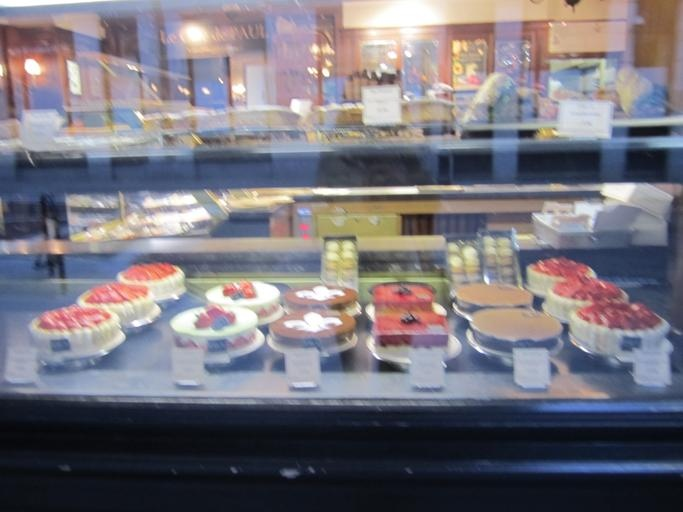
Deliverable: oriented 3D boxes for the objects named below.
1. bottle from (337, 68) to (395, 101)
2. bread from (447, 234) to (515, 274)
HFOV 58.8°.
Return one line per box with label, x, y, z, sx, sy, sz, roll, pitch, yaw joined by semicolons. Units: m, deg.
bottle;0.072;-0.458;1.625;0.147;0.113;0.039;-2;-4;4
bread;0.507;-0.026;2.207;0.223;0.130;0.065;1;-18;7
